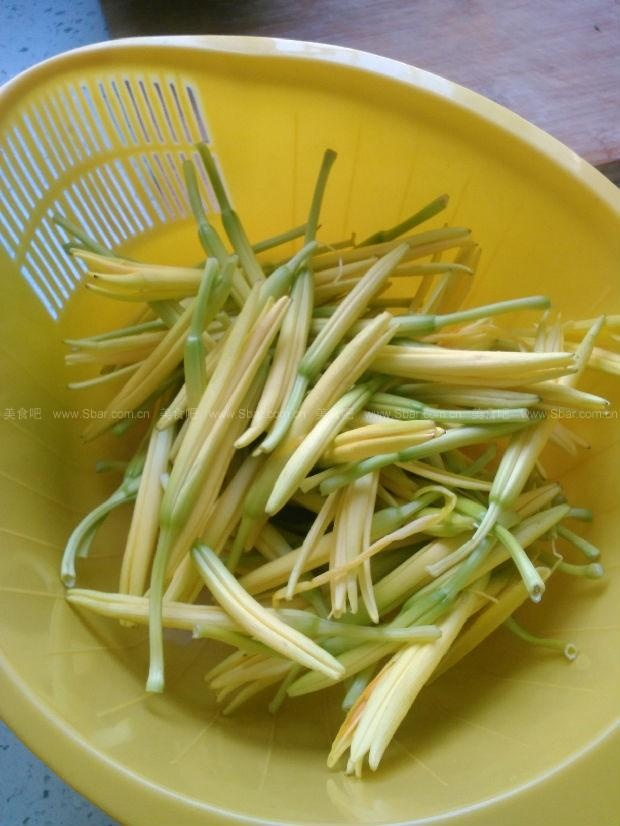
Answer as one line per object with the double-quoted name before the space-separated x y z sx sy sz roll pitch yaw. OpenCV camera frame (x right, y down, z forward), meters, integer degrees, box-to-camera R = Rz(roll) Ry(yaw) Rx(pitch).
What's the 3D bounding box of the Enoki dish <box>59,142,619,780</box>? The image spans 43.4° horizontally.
"Enoki dish" 0.007 0.051 0.794 0.562 0.214 0.463 38 83 2
